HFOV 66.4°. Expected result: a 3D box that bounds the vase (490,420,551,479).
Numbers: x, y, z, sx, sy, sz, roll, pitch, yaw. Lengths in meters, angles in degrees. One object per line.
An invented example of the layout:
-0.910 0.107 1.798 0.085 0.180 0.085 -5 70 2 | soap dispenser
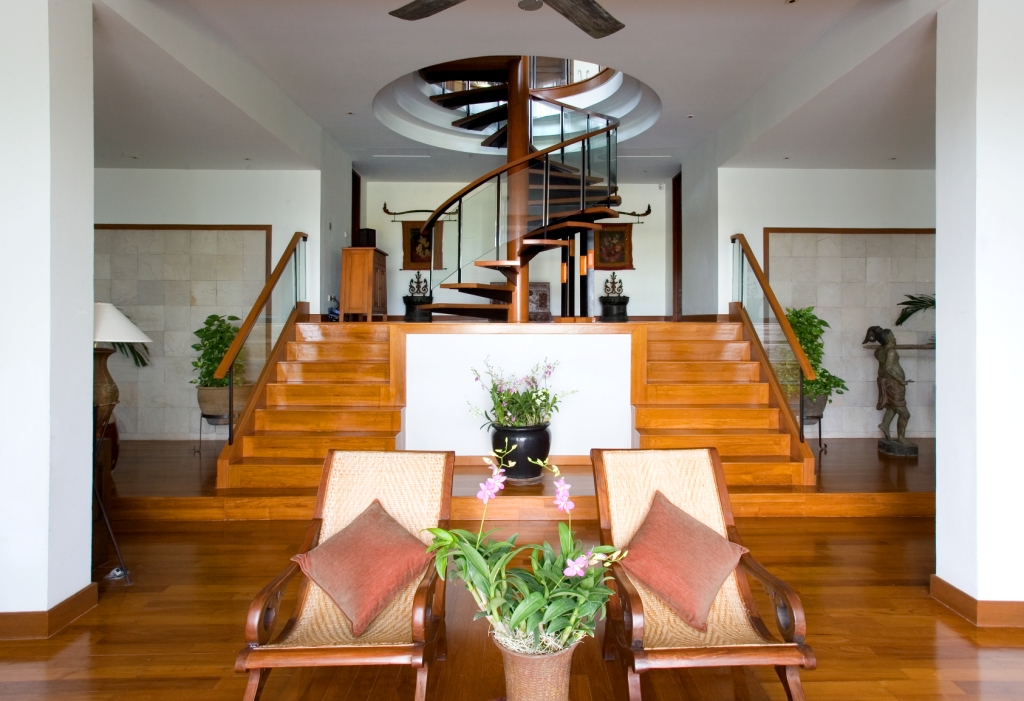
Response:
0.105 0.900 6.961 0.609 0.515 0.604 0 -5 -10 | vase

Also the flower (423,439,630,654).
0.002 1.105 4.057 1.005 1.094 0.824 2 -2 -3 | flower

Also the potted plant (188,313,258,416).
-3.159 0.249 8.260 0.581 0.976 0.570 -1 -3 -28 | potted plant

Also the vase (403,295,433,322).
-1.193 -0.504 9.766 0.387 0.287 0.395 1 3 12 | vase

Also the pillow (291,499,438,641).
-0.837 1.271 4.494 0.668 0.665 0.180 -39 -21 -32 | pillow

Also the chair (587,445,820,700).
1.045 1.160 4.813 0.995 1.140 1.642 -1 12 -4 | chair

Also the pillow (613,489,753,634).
1.000 1.227 4.576 0.702 0.739 0.381 0 2 16 | pillow

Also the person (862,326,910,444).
4.187 0.393 8.773 0.463 1.309 1.132 0 2 25 | person

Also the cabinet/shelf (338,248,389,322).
-1.811 -0.775 9.578 0.376 0.873 1.063 1 2 1 | cabinet/shelf

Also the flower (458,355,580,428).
0.079 0.413 7.480 0.812 0.547 0.709 0 -6 -4 | flower

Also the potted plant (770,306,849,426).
3.124 0.161 8.279 0.682 1.231 2.446 0 2 23 | potted plant

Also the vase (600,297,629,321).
1.249 -0.511 9.640 0.300 0.269 0.370 -1 5 3 | vase
